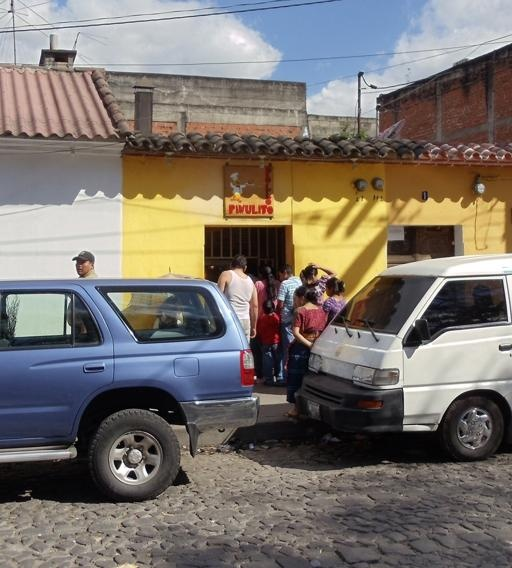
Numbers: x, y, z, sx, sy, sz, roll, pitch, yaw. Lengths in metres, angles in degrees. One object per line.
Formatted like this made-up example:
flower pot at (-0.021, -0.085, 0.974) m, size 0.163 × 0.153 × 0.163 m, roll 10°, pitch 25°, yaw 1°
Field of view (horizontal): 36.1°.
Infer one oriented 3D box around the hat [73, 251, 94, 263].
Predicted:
hat at (-1.918, -0.312, 8.772) m, size 0.225 × 0.099 × 0.150 m, roll 14°, pitch -8°, yaw -33°
